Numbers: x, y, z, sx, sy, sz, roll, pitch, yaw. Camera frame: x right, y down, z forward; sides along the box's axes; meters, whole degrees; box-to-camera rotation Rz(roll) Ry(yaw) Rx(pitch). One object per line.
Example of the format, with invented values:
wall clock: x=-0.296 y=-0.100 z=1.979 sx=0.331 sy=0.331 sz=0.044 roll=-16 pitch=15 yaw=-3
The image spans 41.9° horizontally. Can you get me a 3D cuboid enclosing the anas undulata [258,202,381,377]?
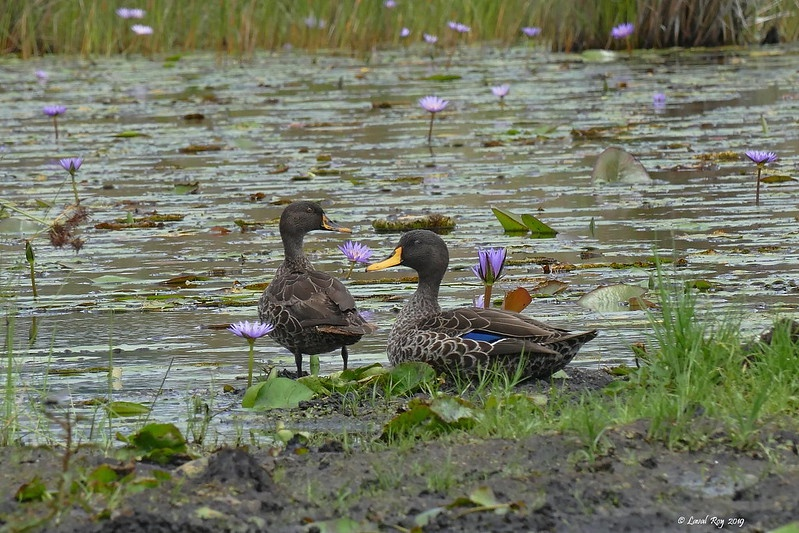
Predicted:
anas undulata: x=-0.652 y=0.155 z=7.414 sx=0.680 sy=0.996 sz=1.251 roll=-2 pitch=11 yaw=-18

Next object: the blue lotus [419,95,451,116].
blue lotus: x=0.372 y=-1.686 z=10.964 sx=0.259 sy=0.183 sz=0.647 roll=2 pitch=9 yaw=2

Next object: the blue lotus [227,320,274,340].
blue lotus: x=-0.907 y=0.406 z=6.589 sx=0.243 sy=0.125 sz=0.277 roll=2 pitch=10 yaw=8
